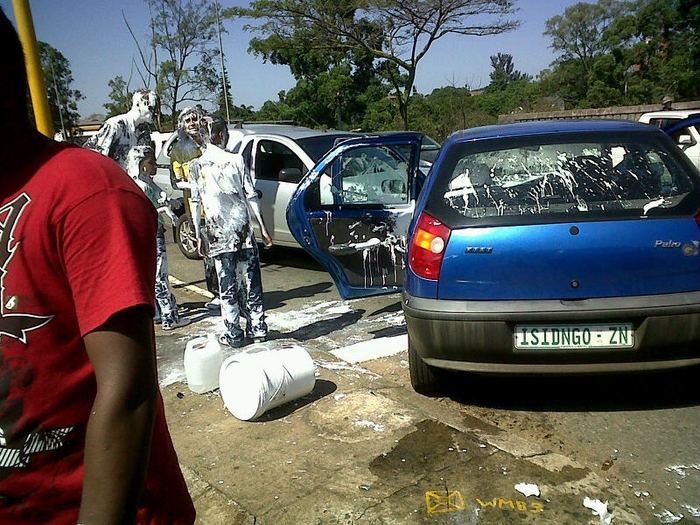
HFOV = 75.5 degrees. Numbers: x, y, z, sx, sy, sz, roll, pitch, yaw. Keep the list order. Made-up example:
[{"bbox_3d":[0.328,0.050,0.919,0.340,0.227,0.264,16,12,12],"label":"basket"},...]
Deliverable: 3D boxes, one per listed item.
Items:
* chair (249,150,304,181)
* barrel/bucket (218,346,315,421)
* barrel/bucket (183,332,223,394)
[{"bbox_3d":[-1.207,-1.618,7.420,0.713,0.465,0.742,4,7,21],"label":"chair"},{"bbox_3d":[-0.764,0.826,3.613,0.806,0.547,0.575,-8,4,-39],"label":"barrel/bucket"},{"bbox_3d":[-1.244,0.869,3.799,0.325,0.455,0.246,-8,22,-25],"label":"barrel/bucket"}]
